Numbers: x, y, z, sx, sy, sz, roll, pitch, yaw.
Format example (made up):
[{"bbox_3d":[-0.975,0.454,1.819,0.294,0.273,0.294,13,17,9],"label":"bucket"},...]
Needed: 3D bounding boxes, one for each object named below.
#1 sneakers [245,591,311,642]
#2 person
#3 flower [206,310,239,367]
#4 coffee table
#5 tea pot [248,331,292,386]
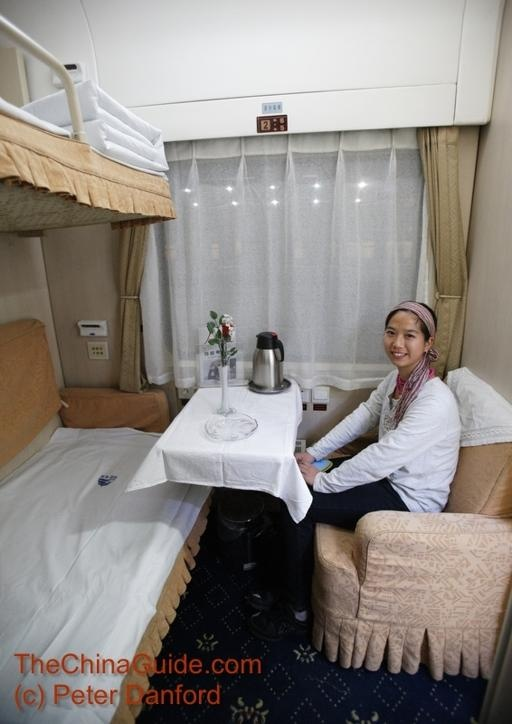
[{"bbox_3d":[0.088,1.003,1.864,0.228,0.107,0.104,9,18,5],"label":"sneakers"},{"bbox_3d":[0.410,0.441,1.965,0.742,1.360,0.484,5,4,0],"label":"person"},{"bbox_3d":[-0.137,-0.082,1.949,0.119,0.258,0.137,-4,-23,4],"label":"flower"},{"bbox_3d":[-0.112,0.380,1.976,0.657,0.294,0.610,-2,15,5],"label":"coffee table"},{"bbox_3d":[0.062,-0.010,2.344,0.234,0.281,0.229,-2,13,0],"label":"tea pot"}]
